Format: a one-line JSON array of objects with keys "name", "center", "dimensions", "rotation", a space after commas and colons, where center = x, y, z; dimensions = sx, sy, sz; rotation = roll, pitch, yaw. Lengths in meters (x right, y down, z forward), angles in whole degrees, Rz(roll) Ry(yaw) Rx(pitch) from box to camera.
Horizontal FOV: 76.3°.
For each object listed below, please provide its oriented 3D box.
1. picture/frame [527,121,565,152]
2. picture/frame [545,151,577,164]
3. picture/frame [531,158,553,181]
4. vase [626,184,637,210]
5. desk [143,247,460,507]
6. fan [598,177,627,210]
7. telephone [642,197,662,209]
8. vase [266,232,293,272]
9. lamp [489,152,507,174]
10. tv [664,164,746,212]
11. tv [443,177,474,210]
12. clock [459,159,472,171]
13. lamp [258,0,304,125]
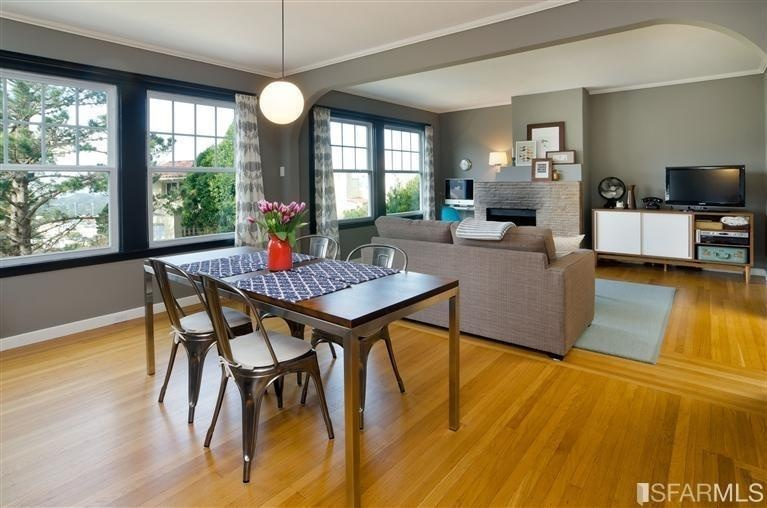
[{"name": "picture/frame", "center": [2.749, -1.953, 8.134], "dimensions": [0.514, 0.508, 0.037], "rotation": [12, 17, 37]}, {"name": "picture/frame", "center": [2.946, -1.600, 8.048], "dimensions": [0.485, 0.215, 0.172], "rotation": [6, 16, 18]}, {"name": "picture/frame", "center": [2.629, -1.378, 8.005], "dimensions": [0.322, 0.372, 0.026], "rotation": [19, 11, 40]}, {"name": "vase", "center": [4.012, -0.917, 7.806], "dimensions": [0.165, 0.363, 0.459], "rotation": [11, 18, 33]}, {"name": "desk", "center": [-0.095, 0.870, 3.711], "dimensions": [1.208, 1.330, 1.051], "rotation": [-12, 20, -42]}, {"name": "fan", "center": [3.841, -1.022, 8.157], "dimensions": [0.453, 0.549, 0.261], "rotation": [-5, -9, 26]}, {"name": "telephone", "center": [4.245, -0.795, 7.667], "dimensions": [0.291, 0.175, 0.435], "rotation": [10, 17, 30]}, {"name": "vase", "center": [-0.861, 0.001, 4.053], "dimensions": [0.230, 0.311, 0.290], "rotation": [0, -2, -8]}, {"name": "lamp", "center": [2.158, -1.708, 9.093], "dimensions": [0.374, 0.404, 0.442], "rotation": [5, 15, 12]}, {"name": "tv", "center": [4.768, -0.967, 7.141], "dimensions": [0.724, 0.485, 0.210], "rotation": [4, 7, 39]}, {"name": "tv", "center": [1.501, -1.169, 9.474], "dimensions": [0.707, 0.645, 0.374], "rotation": [2, 6, 37]}, {"name": "clock", "center": [1.629, -1.746, 9.606], "dimensions": [0.066, 0.203, 0.237], "rotation": [-3, 8, -44]}, {"name": "lamp", "center": [-1.000, -1.856, 4.803], "dimensions": [0.369, 1.103, 1.652], "rotation": [-1, 15, -10]}]
